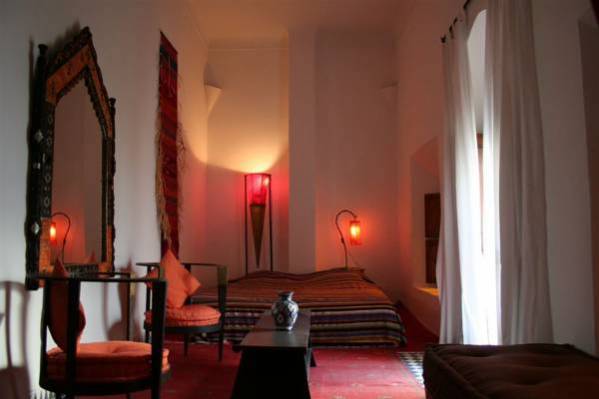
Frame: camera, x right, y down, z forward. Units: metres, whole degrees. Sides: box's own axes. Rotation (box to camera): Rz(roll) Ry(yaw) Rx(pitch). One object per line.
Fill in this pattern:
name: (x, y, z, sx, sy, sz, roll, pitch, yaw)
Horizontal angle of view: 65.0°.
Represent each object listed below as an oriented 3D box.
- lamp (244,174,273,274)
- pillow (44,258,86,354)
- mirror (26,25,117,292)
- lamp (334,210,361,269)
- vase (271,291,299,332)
lamp: (-0.666, 0.379, 7.627, 0.472, 1.588, 0.254, -1, -6, -7)
pillow: (-1.604, 0.723, 3.233, 0.311, 0.626, 0.136, -6, -8, 37)
mirror: (-1.912, -0.420, 4.052, 0.271, 2.111, 0.968, -3, -6, 8)
lamp: (0.799, 0.753, 7.885, 0.407, 1.312, 0.241, -6, 31, -5)
vase: (-0.127, 0.996, 4.204, 0.257, 0.347, 0.277, 0, -5, 25)
